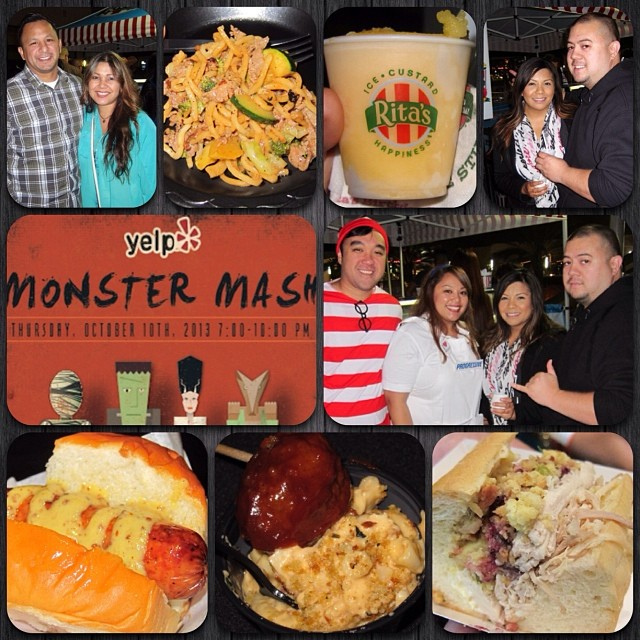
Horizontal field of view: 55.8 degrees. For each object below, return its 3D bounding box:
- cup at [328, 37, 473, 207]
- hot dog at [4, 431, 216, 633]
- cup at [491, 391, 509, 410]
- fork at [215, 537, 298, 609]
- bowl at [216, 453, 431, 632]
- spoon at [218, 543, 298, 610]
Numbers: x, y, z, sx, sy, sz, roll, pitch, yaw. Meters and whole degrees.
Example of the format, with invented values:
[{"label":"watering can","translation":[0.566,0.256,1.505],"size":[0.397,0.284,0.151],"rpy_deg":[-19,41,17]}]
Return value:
[{"label":"cup","translation":[0.146,-0.340,1.126],"size":[0.278,0.260,0.267],"rpy_deg":[-2,3,0]},{"label":"hot dog","translation":[-0.346,0.380,1.042],"size":[0.388,0.292,0.134],"rpy_deg":[4,-1,5]},{"label":"cup","translation":[0.318,0.142,1.081],"size":[0.032,0.034,0.031],"rpy_deg":[0,5,0]},{"label":"fork","translation":[-0.103,0.440,1.044],"size":[0.161,0.030,0.029],"rpy_deg":[43,41,8]},{"label":"bowl","translation":[0.007,0.395,1.055],"size":[0.365,0.272,0.181],"rpy_deg":[4,26,10]},{"label":"spoon","translation":[-0.097,0.436,1.088],"size":[0.185,0.052,0.032],"rpy_deg":[44,38,1]}]
